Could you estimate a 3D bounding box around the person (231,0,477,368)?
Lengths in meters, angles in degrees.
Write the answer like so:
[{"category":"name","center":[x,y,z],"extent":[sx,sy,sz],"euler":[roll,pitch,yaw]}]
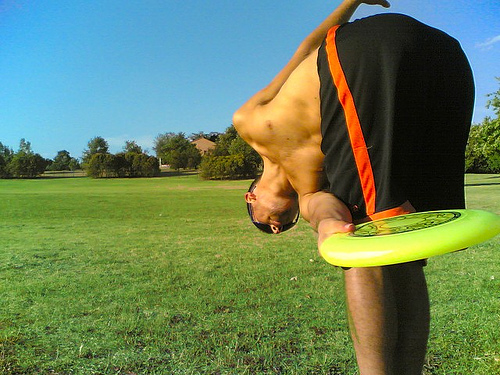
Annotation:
[{"category":"person","center":[0.398,-0.071,1.609],"extent":[0.909,1.603,0.654],"euler":[2,5,43]}]
